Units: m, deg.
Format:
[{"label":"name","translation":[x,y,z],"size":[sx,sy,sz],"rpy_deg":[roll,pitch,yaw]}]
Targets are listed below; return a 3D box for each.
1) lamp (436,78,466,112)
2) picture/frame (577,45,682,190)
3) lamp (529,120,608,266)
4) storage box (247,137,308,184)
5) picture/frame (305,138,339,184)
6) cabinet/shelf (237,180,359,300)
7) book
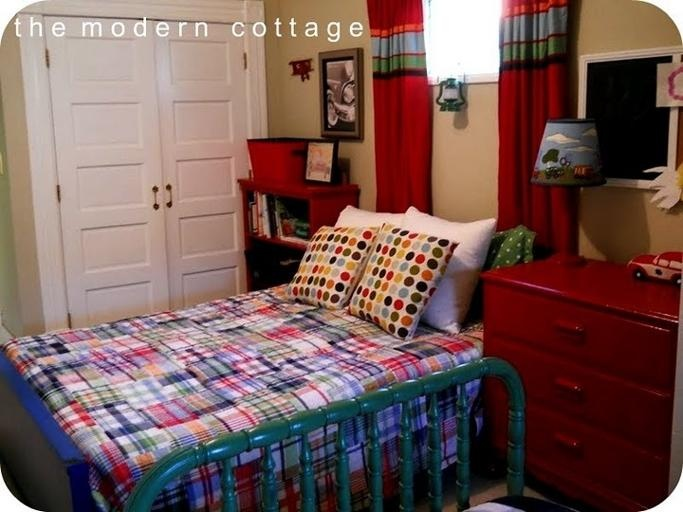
[{"label":"lamp","translation":[0.657,-0.955,3.012],"size":[0.183,0.179,0.092],"rpy_deg":[11,34,25]},{"label":"picture/frame","translation":[1.328,-0.635,2.364],"size":[0.080,0.597,0.465],"rpy_deg":[-10,17,-31]},{"label":"lamp","translation":[0.997,-0.410,2.239],"size":[0.294,0.567,0.289],"rpy_deg":[-14,19,-37]},{"label":"storage box","translation":[-0.498,-0.754,4.054],"size":[0.329,0.314,0.484],"rpy_deg":[-8,12,-40]},{"label":"picture/frame","translation":[-0.144,-0.695,3.771],"size":[0.045,0.328,0.327],"rpy_deg":[-4,9,-40]},{"label":"cabinet/shelf","translation":[-0.283,-0.136,3.523],"size":[0.383,0.941,0.722],"rpy_deg":[-11,17,-37]},{"label":"book","translation":[-0.471,-0.294,3.926],"size":[0.388,0.373,0.134],"rpy_deg":[11,17,41]}]
